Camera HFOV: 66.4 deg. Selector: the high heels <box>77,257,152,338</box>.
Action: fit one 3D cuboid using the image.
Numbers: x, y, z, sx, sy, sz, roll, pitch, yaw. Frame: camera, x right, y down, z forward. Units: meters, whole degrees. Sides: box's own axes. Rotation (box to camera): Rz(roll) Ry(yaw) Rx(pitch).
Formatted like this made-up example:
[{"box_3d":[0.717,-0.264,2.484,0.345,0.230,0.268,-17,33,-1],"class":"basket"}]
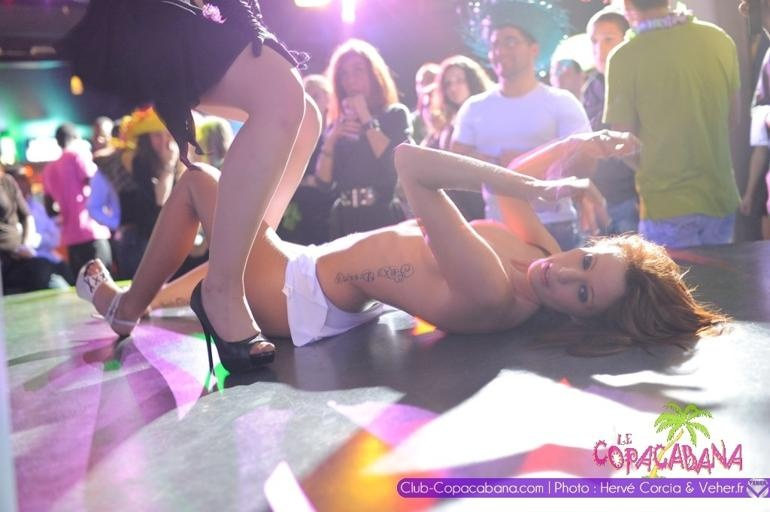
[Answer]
[{"box_3d":[-1.166,0.156,2.525,0.188,0.177,0.438,4,42,-49],"class":"high heels"}]
